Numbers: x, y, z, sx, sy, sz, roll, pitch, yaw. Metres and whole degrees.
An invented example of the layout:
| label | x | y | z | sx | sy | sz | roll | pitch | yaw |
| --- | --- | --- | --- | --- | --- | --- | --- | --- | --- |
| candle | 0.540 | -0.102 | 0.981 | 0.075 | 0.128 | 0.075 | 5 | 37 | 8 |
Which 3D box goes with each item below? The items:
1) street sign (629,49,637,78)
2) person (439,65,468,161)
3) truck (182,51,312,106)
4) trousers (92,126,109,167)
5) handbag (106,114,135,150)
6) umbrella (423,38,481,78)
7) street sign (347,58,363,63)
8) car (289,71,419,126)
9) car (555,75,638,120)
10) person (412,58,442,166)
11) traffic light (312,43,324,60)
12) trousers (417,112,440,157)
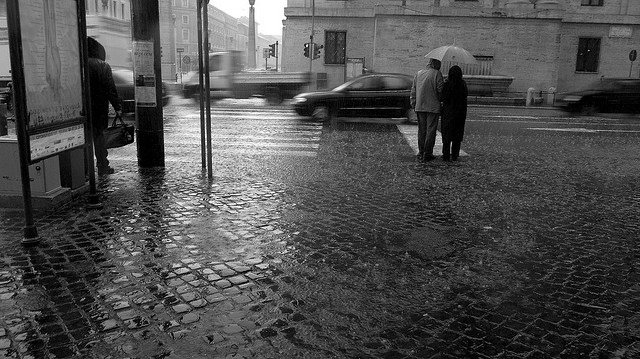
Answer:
| label | x | y | z | sx | sy | sz | roll | pitch | yaw |
| --- | --- | --- | --- | --- | --- | --- | --- | --- | --- |
| street sign | 20.392 | -7.667 | 33.674 | 0.367 | 1.704 | 2.805 | 11 | 18 | 29 |
| person | 3.294 | -1.669 | 12.870 | 0.624 | 2.299 | 0.736 | 10 | 18 | 26 |
| truck | -3.720 | -5.841 | 29.447 | 7.787 | 2.851 | 2.515 | 5 | 5 | 23 |
| trousers | -4.597 | -0.671 | 10.732 | 0.275 | 0.856 | 0.385 | -4 | 17 | -21 |
| handbag | -4.189 | -1.048 | 10.655 | 0.695 | 0.614 | 0.404 | -13 | 24 | -22 |
| umbrella | 5.694 | -5.131 | 21.232 | 1.312 | 1.069 | 1.309 | -15 | -1 | 21 |
| street sign | 2.334 | -7.918 | 34.095 | 0.878 | 0.254 | 1.256 | -8 | 18 | -33 |
| car | 1.196 | -3.162 | 20.054 | 4.809 | 1.352 | 2.089 | 2 | 8 | 2 |
| car | 13.881 | -4.037 | 25.274 | 3.860 | 1.601 | 2.105 | 3 | 14 | 11 |
| person | 2.713 | -1.786 | 12.971 | 0.754 | 2.475 | 1.056 | 2 | 16 | 1 |
| traffic light | -0.185 | -9.059 | 36.107 | 0.766 | 1.118 | 2.088 | 2 | 15 | 0 |
| trousers | 2.659 | -1.158 | 13.005 | 0.506 | 1.095 | 0.476 | 6 | 16 | 13 |
